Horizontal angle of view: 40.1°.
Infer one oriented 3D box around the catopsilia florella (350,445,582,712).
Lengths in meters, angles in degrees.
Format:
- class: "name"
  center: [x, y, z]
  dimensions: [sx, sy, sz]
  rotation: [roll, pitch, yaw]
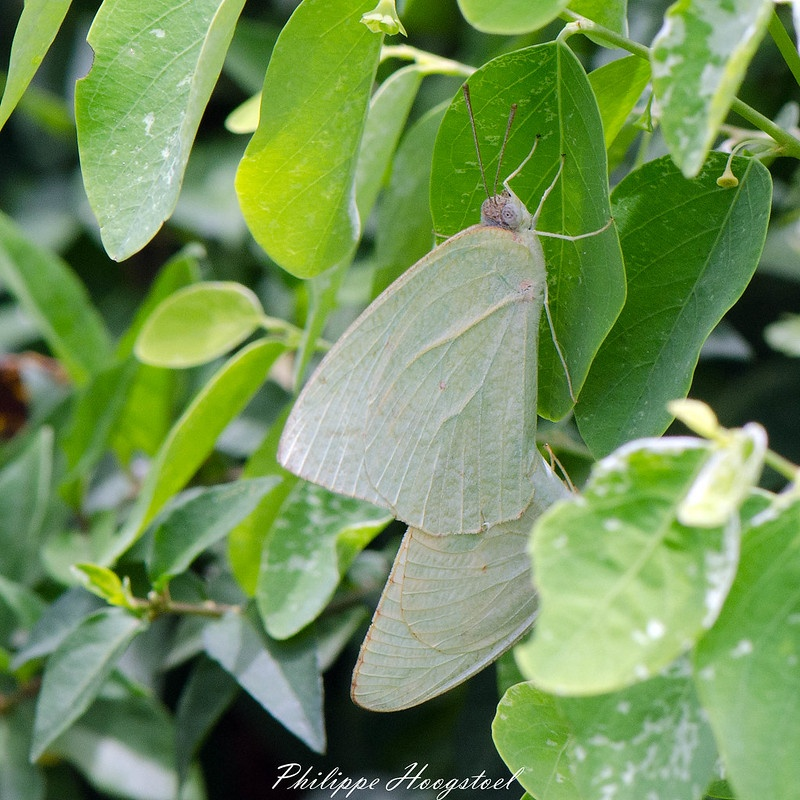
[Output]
- class: "catopsilia florella"
  center: [0.052, 0.177, 0.992]
  dimensions: [0.083, 0.200, 0.248]
  rotation: [6, 87, 36]
